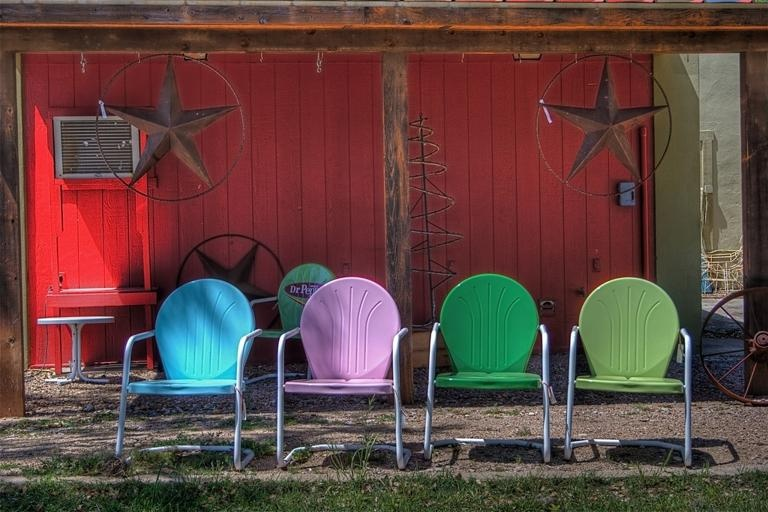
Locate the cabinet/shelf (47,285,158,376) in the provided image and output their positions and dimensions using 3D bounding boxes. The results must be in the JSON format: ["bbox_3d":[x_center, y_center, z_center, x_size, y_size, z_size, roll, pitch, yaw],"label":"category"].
[{"bbox_3d":[-3.115,0.918,13.185,1.447,1.107,0.827,-1,-4,-6],"label":"cabinet/shelf"}]

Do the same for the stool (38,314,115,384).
[{"bbox_3d":[-3.318,0.997,12.653,0.771,0.719,0.814,-5,-6,11],"label":"stool"}]
